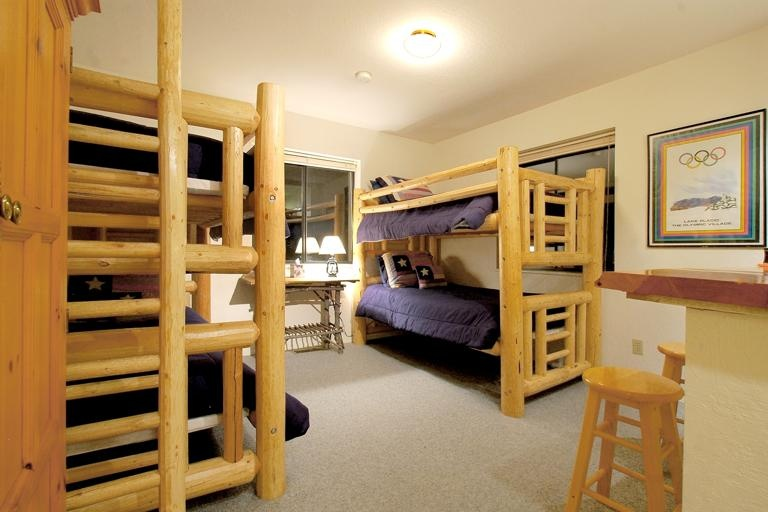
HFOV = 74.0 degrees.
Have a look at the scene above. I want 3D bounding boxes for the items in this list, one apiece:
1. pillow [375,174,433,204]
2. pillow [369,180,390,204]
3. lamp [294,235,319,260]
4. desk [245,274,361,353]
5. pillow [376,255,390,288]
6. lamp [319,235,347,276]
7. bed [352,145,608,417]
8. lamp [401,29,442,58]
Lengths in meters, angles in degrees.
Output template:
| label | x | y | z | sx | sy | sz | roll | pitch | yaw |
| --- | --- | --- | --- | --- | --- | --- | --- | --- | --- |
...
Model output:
| label | x | y | z | sx | sy | sz | roll | pitch | yaw |
| --- | --- | --- | --- | --- | --- | --- | --- | --- | --- |
| pillow | 0.247 | -0.647 | 5.172 | 0.412 | 0.121 | 0.360 | -9 | 47 | -19 |
| pillow | -0.031 | -0.686 | 5.365 | 0.077 | 0.247 | 0.267 | -28 | -29 | 25 |
| lamp | -0.821 | -0.093 | 5.590 | 0.263 | 0.251 | 0.247 | 0 | 6 | 0 |
| desk | -0.812 | 0.634 | 5.405 | 1.457 | 1.008 | 0.777 | 1 | -4 | -34 |
| pillow | -0.003 | 0.154 | 5.623 | 0.083 | 0.273 | 0.274 | -6 | -2 | -8 |
| lamp | -0.566 | -0.022 | 5.602 | 0.260 | 0.425 | 0.507 | -1 | 12 | -5 |
| bed | 0.943 | 0.103 | 5.112 | 1.867 | 2.354 | 2.958 | 1 | -2 | -33 |
| lamp | 0.308 | -1.646 | 3.943 | 0.270 | 0.146 | 0.347 | 7 | 14 | 29 |
